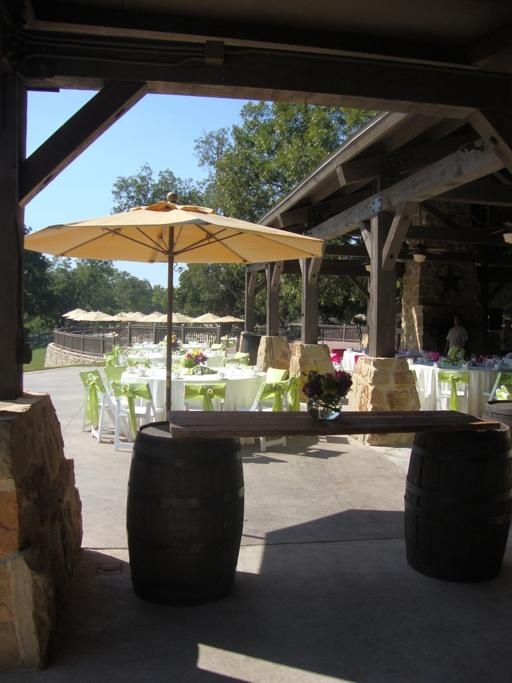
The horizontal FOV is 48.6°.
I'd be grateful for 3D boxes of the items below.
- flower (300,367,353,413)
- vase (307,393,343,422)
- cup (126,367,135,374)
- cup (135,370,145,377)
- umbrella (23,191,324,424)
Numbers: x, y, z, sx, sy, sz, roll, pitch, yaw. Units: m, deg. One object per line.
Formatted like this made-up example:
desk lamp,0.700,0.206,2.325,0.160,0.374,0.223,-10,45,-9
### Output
flower,0.347,0.266,2.924,0.225,0.222,0.232,-12,-15,43
vase,0.346,0.332,2.888,0.134,0.100,0.139,7,-8,-23
cup,-1.429,0.332,6.435,0.089,0.066,0.089,0,-7,0
cup,-1.270,0.347,6.234,0.078,0.074,0.078,2,-2,0
umbrella,-0.583,-0.155,3.865,1.624,1.522,1.641,2,3,13
